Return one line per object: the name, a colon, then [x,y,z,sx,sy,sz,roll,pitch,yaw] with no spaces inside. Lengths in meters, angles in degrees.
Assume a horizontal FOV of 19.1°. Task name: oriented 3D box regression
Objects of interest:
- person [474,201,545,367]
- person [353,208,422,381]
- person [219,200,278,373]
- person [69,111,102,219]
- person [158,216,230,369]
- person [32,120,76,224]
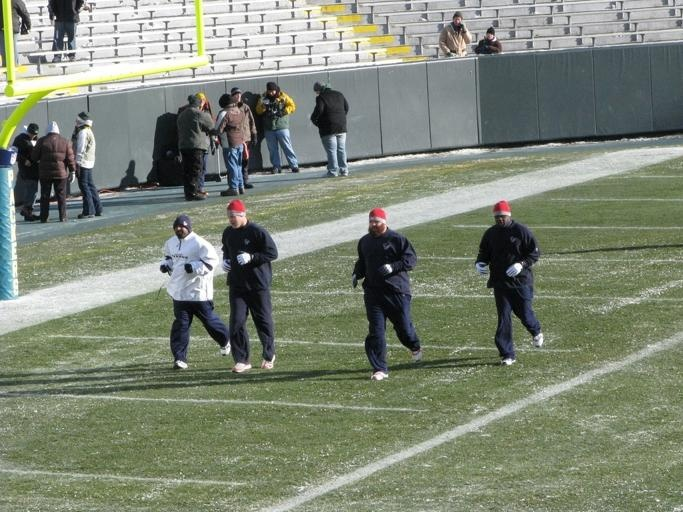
person: [2.881,0.419,35.056,1.033,2.824,0.738,-3,8,5]
person: [0.764,0.603,34.780,1.039,2.922,0.698,-5,8,-9]
person: [-1.624,0.464,35.304,1.061,2.949,1.149,1,-3,-33]
person: [-5.634,-2.087,45.254,0.647,2.376,0.567,-4,21,-28]
person: [-2.496,0.535,35.517,1.286,2.659,1.139,-4,5,-26]
person: [-6.348,-1.963,44.841,0.739,2.336,0.595,-5,17,-39]
